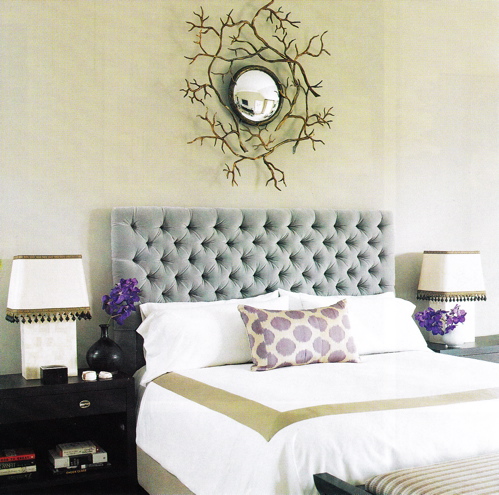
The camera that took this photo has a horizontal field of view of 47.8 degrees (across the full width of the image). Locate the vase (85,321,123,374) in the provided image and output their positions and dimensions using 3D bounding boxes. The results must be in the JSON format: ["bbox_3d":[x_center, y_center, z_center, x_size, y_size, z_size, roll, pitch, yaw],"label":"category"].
[{"bbox_3d":[-0.600,0.434,2.443,0.191,0.249,0.195,-2,-4,11],"label":"vase"}]

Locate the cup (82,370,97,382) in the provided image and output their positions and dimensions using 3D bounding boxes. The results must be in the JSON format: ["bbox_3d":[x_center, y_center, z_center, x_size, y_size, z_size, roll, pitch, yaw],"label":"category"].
[{"bbox_3d":[-0.646,0.518,2.260,0.036,0.022,0.048,1,-3,-2],"label":"cup"}]

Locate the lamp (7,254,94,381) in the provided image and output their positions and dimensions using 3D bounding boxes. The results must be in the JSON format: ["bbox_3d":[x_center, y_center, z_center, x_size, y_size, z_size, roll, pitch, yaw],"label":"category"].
[{"bbox_3d":[-0.824,0.282,2.313,0.315,0.491,0.214,-3,0,-23],"label":"lamp"}]
